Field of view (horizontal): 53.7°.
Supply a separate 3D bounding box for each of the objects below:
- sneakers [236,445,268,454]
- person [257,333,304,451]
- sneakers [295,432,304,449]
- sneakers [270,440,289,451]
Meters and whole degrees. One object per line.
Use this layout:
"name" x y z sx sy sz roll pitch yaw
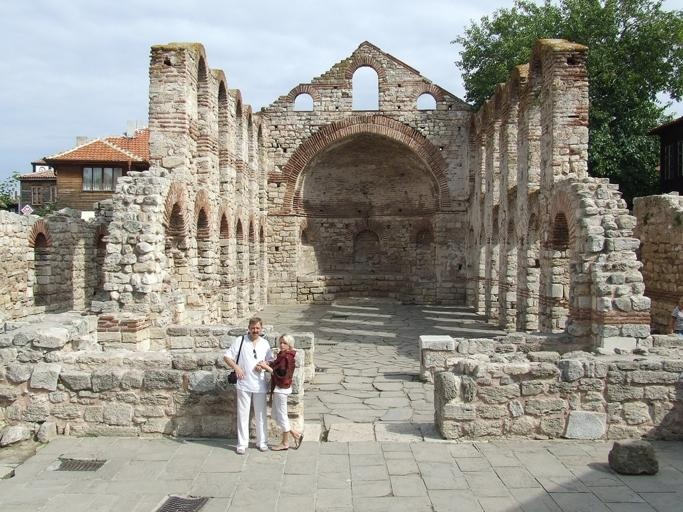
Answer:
"sneakers" -1.172 2.555 8.946 0.420 0.091 0.113 0 0 -16
"person" -0.810 1.822 9.124 0.596 1.516 0.391 0 0 0
"sneakers" -0.552 2.482 9.080 0.085 0.201 0.077 15 30 8
"sneakers" -0.801 2.549 9.071 0.279 0.137 0.087 3 -6 3
